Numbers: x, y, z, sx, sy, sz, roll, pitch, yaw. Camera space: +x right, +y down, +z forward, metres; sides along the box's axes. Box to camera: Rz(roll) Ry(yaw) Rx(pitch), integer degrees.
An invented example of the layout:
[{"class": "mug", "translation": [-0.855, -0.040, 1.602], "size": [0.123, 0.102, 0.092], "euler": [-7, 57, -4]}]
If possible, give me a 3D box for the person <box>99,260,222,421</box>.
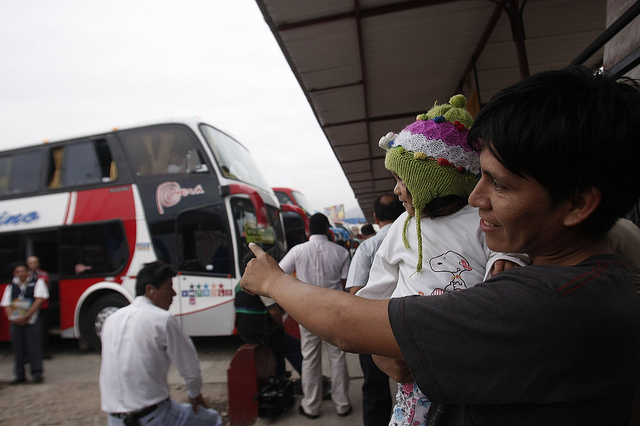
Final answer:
[{"class": "person", "translation": [-1.476, 1.237, 3.742], "size": [0.871, 1.481, 0.604], "euler": [-12, 3, -36]}]
